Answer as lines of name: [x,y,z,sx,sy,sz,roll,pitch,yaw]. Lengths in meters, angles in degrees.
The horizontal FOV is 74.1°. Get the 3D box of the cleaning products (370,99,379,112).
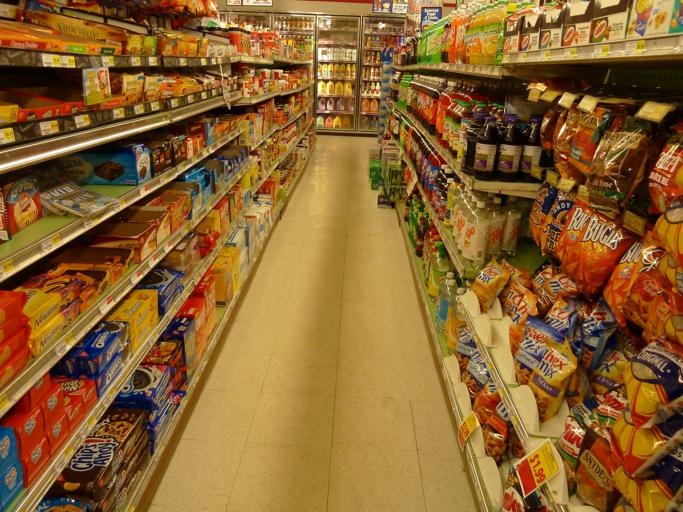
cleaning products: [0.908,-4.144,12.499,0.277,0.473,0.260,1,13,-1]

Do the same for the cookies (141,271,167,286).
cookies: [-1.044,0.124,2.536,0.080,0.020,0.084,1,26,-6]
